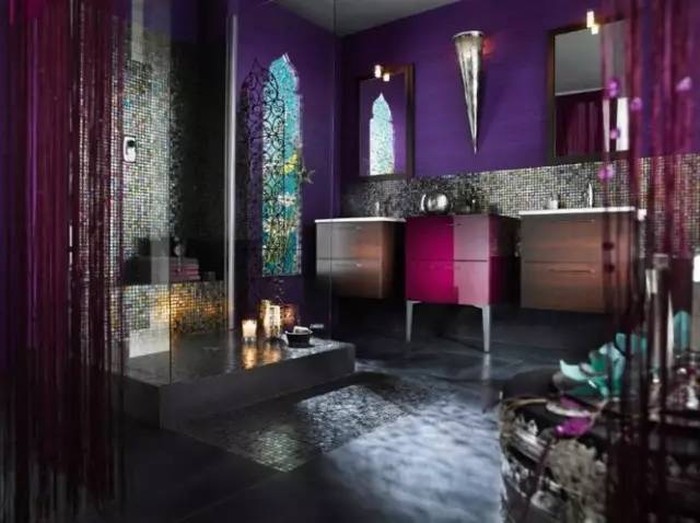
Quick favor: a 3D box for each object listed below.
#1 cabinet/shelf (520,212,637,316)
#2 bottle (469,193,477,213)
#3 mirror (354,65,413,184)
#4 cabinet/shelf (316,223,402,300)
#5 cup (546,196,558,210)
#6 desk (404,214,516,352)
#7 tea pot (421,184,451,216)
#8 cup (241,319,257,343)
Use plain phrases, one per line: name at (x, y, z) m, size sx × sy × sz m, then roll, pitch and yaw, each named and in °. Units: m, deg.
cabinet/shelf at (1.642, 0.011, 3.390) m, size 0.422 × 0.726 × 0.747 m, roll 0°, pitch 2°, yaw -38°
bottle at (1.052, -0.502, 4.080) m, size 0.060 × 0.156 × 0.080 m, roll -2°, pitch 1°, yaw 18°
mirror at (0.332, -1.310, 4.629) m, size 0.642 × 1.055 × 0.104 m, roll -1°, pitch 2°, yaw 43°
cabinet/shelf at (0.083, -0.045, 4.208) m, size 0.798 × 0.461 × 0.330 m, roll -2°, pitch 1°, yaw 6°
cup at (1.542, -0.454, 3.666) m, size 0.088 × 0.086 × 0.156 m, roll -2°, pitch 1°, yaw 24°
desk at (0.923, 0.125, 3.995) m, size 0.736 × 0.992 × 0.602 m, roll 1°, pitch 3°, yaw 37°
tea pot at (0.703, -0.496, 3.994) m, size 0.171 × 0.212 × 0.188 m, roll -3°, pitch 1°, yaw -30°
cup at (-0.666, 0.453, 3.179) m, size 0.115 × 0.179 × 0.119 m, roll -1°, pitch 0°, yaw 0°
